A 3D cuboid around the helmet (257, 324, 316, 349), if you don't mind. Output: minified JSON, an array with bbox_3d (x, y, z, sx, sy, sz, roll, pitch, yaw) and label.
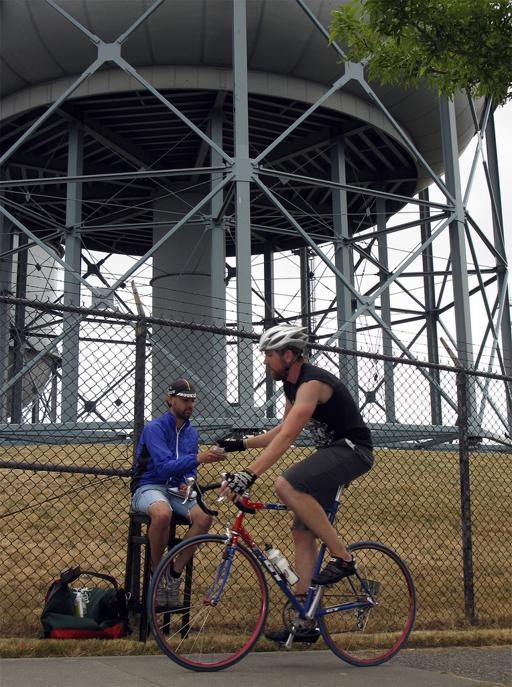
[{"bbox_3d":[0.144,-0.035,4.761,0.211,0.095,0.138,1,2,-14],"label":"helmet"}]

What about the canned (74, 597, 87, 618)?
[{"bbox_3d":[-0.973,1.429,4.981,0.066,0.116,0.057,5,1,-9],"label":"canned"}]

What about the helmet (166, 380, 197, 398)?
[{"bbox_3d":[-0.450,0.269,5.355,0.151,0.071,0.108,2,-3,1],"label":"helmet"}]

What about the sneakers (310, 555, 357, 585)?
[{"bbox_3d":[0.401,1.150,4.640,0.282,0.107,0.099,-16,3,-34],"label":"sneakers"}]

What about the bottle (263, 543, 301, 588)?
[{"bbox_3d":[0.123,1.126,4.630,0.184,0.202,0.186,5,1,1],"label":"bottle"}]

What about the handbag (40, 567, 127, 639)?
[{"bbox_3d":[-0.929,1.423,5.012,0.513,0.354,0.313,4,1,-23],"label":"handbag"}]

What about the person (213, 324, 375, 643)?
[{"bbox_3d":[0.218,0.707,4.723,0.887,1.545,0.555,5,1,-19],"label":"person"}]

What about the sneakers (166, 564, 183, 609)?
[{"bbox_3d":[-0.454,1.268,4.777,0.082,0.213,0.143,-2,0,-27],"label":"sneakers"}]
